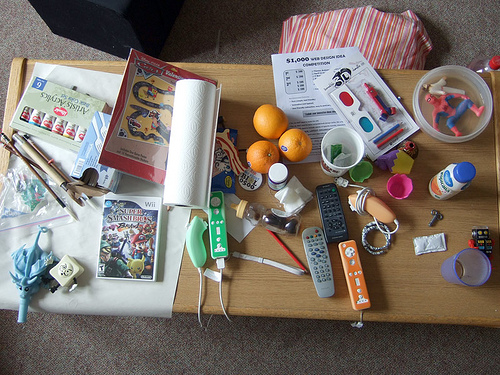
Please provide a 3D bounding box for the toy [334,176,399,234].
[{"bbox_3d":[0.379,0.038,1.321,0.084,0.094,0.240,-25,44,-31],"label":"toy"}]

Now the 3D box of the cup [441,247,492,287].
[{"bbox_3d":[0.680,0.253,1.236,0.077,0.082,0.091,40,94,1],"label":"cup"}]

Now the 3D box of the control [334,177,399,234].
[{"bbox_3d":[0.393,0.063,1.311,0.208,0.082,0.095,30,33,14],"label":"control"}]

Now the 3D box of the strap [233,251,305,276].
[{"bbox_3d":[0.062,0.243,1.267,0.238,0.021,0.023,16,77,-1],"label":"strap"}]

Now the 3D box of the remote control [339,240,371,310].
[{"bbox_3d":[0.334,0.280,1.253,0.064,0.054,0.232,-10,79,3],"label":"remote control"}]

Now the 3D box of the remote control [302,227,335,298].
[{"bbox_3d":[0.219,0.231,1.265,0.074,0.039,0.225,-10,78,-1],"label":"remote control"}]

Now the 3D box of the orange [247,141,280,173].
[{"bbox_3d":[0.042,-0.097,1.280,0.090,0.087,0.091,9,79,-20],"label":"orange"}]

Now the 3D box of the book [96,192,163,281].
[{"bbox_3d":[-0.388,0.158,1.287,0.187,0.035,0.271,4,77,-4],"label":"book"}]

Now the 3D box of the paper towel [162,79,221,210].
[{"bbox_3d":[-0.175,-0.137,1.202,0.135,0.079,0.383,6,77,-3],"label":"paper towel"}]

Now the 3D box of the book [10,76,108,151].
[{"bbox_3d":[-0.646,-0.247,1.370,0.309,0.071,0.220,27,87,4],"label":"book"}]

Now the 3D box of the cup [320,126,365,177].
[{"bbox_3d":[0.278,-0.123,1.292,0.168,0.142,0.143,2,54,0],"label":"cup"}]

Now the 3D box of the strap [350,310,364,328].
[{"bbox_3d":[0.355,0.433,1.293,0.032,0.054,0.054,5,57,2],"label":"strap"}]

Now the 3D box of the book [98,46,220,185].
[{"bbox_3d":[-0.310,-0.220,1.248,0.232,0.099,0.370,16,77,-1],"label":"book"}]

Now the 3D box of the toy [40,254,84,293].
[{"bbox_3d":[-0.594,0.273,1.261,0.111,0.034,0.112,-43,87,-5],"label":"toy"}]

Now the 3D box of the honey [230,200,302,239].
[{"bbox_3d":[0.020,0.103,1.328,0.290,0.096,0.093,17,99,10],"label":"honey"}]

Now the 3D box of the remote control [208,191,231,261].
[{"bbox_3d":[-0.116,0.133,1.288,0.066,0.057,0.233,-4,88,-39],"label":"remote control"}]

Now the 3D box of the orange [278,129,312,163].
[{"bbox_3d":[0.142,-0.137,1.278,0.118,0.113,0.116,-8,78,20],"label":"orange"}]

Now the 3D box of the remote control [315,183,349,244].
[{"bbox_3d":[0.269,0.086,1.288,0.085,0.055,0.195,-8,83,4],"label":"remote control"}]

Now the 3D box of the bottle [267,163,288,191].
[{"bbox_3d":[0.087,-0.034,1.236,0.045,0.072,0.044,0,79,1],"label":"bottle"}]

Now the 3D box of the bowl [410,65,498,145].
[{"bbox_3d":[0.681,-0.279,1.375,0.251,0.106,0.271,0,90,3],"label":"bowl"}]

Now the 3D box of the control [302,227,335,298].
[{"bbox_3d":[0.220,0.243,1.272,0.074,0.030,0.226,-6,75,-21],"label":"control"}]
